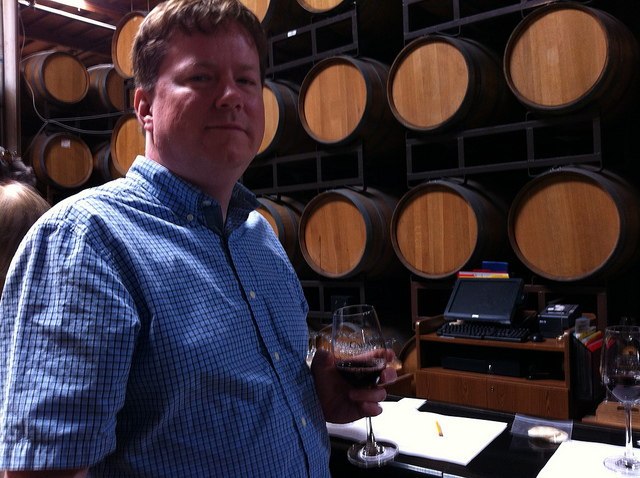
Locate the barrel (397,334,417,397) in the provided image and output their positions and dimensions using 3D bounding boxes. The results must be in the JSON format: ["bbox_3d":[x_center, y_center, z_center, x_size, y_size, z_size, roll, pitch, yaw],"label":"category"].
[{"bbox_3d":[0.555,0.744,3.868,0.115,0.265,0.294,3,6,6],"label":"barrel"}]

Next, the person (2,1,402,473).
[{"bbox_3d":[-0.359,-0.001,1.760,1.021,1.415,0.456,-1,6,-34],"label":"person"}]

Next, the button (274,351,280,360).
[{"bbox_3d":[-0.129,0.347,1.793,0.019,0.023,0.011,-2,7,-40],"label":"button"}]

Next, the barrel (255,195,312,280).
[{"bbox_3d":[-0.271,-0.045,4.574,0.317,0.737,0.288,9,13,39],"label":"barrel"}]

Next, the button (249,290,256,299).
[{"bbox_3d":[-0.203,0.165,1.800,0.017,0.020,0.017,-11,10,-37],"label":"button"}]

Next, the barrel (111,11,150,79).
[{"bbox_3d":[-1.776,-1.812,5.627,0.250,0.642,0.577,-1,7,-33],"label":"barrel"}]

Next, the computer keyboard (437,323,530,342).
[{"bbox_3d":[0.935,0.474,3.338,0.349,0.067,0.279,4,8,42],"label":"computer keyboard"}]

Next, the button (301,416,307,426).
[{"bbox_3d":[-0.050,0.545,1.813,0.020,0.026,0.023,-3,8,6],"label":"button"}]

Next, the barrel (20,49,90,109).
[{"bbox_3d":[-2.909,-1.712,6.545,0.704,0.609,0.537,1,6,-17],"label":"barrel"}]

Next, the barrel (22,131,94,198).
[{"bbox_3d":[-2.840,-0.794,6.547,0.716,0.700,0.554,0,6,-31],"label":"barrel"}]

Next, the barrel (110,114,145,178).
[{"bbox_3d":[-1.815,-0.873,5.683,0.212,0.582,0.505,-2,7,-40],"label":"barrel"}]

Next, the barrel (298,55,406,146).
[{"bbox_3d":[0.164,-0.858,4.402,0.539,0.749,0.824,-15,-4,29],"label":"barrel"}]

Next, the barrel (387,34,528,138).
[{"bbox_3d":[0.865,-0.834,3.903,0.665,0.750,0.901,5,6,34],"label":"barrel"}]

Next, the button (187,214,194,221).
[{"bbox_3d":[-0.388,-0.063,1.785,0.015,0.020,0.005,1,0,-13],"label":"button"}]

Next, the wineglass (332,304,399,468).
[{"bbox_3d":[0.149,0.488,2.041,0.164,0.526,0.182,-8,4,-5],"label":"wineglass"}]

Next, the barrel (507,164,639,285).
[{"bbox_3d":[1.432,-0.075,3.489,0.571,0.700,0.716,-2,0,23],"label":"barrel"}]

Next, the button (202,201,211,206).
[{"bbox_3d":[-0.340,-0.105,1.803,0.012,0.015,0.013,8,4,16],"label":"button"}]
